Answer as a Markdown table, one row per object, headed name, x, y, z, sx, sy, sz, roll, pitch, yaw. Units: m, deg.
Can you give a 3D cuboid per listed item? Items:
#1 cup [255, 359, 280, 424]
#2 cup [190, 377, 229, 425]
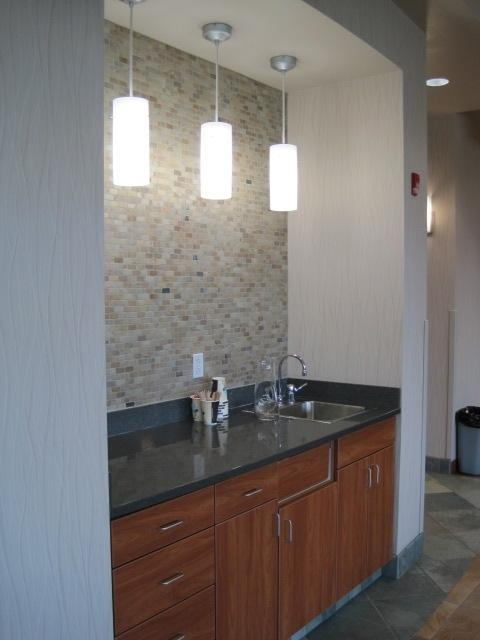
| name | x | y | z | sx | sy | sz | roll | pitch | yaw |
| --- | --- | --- | --- | --- | --- | --- | --- | --- | --- |
| cup | 0.120 | 0.323 | 2.358 | 0.102 | 0.258 | 0.086 | 1 | 0 | 5 |
| cup | -0.133 | 0.365 | 2.290 | 0.178 | 0.221 | 0.134 | 3 | -6 | -25 |
